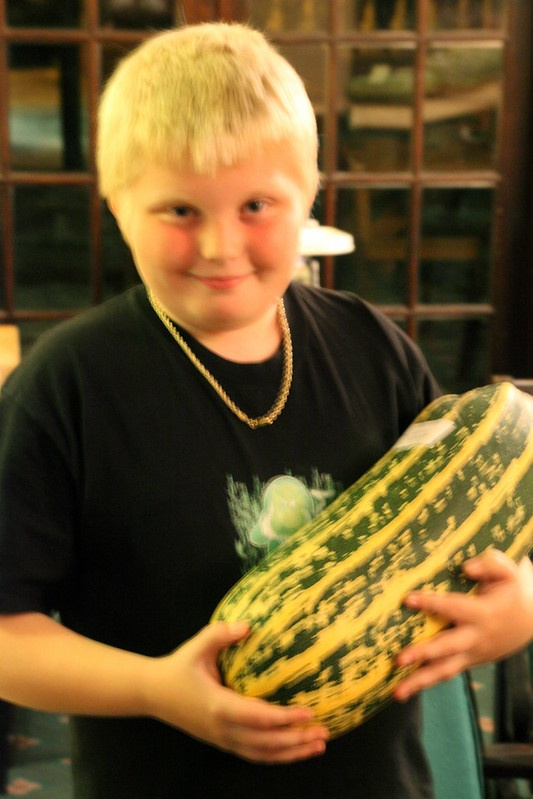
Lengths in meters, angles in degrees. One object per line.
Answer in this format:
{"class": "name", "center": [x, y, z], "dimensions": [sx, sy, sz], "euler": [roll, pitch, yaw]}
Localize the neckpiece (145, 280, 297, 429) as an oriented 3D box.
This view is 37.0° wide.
{"class": "neckpiece", "center": [-0.052, -0.030, 0.785], "dimensions": [0.108, 0.154, 0.030], "euler": [-29, 3, -37]}
